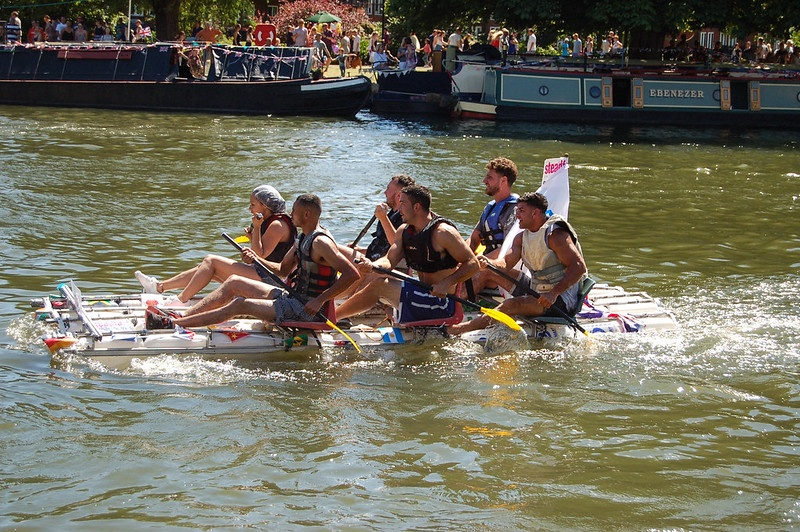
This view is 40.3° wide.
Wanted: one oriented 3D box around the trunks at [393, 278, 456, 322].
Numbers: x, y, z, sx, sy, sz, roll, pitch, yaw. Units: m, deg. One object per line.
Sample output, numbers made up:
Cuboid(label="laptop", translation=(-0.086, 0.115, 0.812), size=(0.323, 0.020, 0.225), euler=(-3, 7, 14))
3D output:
Cuboid(label="trunks", translation=(0.401, 0.565, 16.885), size=(0.840, 0.597, 0.304), euler=(5, -35, -5))

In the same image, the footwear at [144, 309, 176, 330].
Cuboid(label="footwear", translation=(-3.632, 0.815, 16.414), size=(0.598, 0.228, 0.183), euler=(1, 41, -14))
